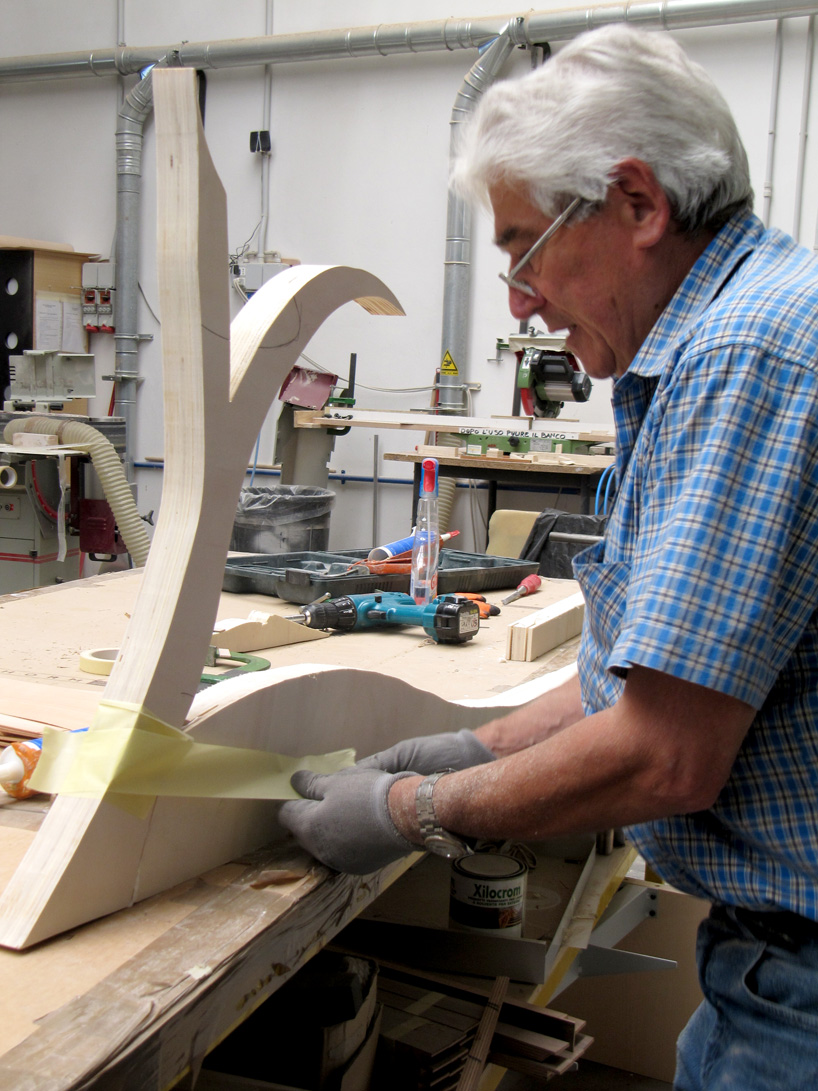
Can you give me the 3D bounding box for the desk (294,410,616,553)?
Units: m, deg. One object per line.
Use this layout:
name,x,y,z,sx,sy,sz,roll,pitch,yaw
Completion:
desk,0.392,-0.334,4.662,1.757,0.534,0.919,0,7,25

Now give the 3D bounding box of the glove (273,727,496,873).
glove,-0.057,0.227,1.075,0.218,0.112,0.275,8,7,39

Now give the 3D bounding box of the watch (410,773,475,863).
watch,0.021,0.239,0.883,0.021,0.059,0.065,-21,-16,-14

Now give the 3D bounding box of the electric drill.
electric drill,-0.023,0.103,1.841,0.232,0.096,0.376,3,5,40

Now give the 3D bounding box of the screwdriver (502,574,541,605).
screwdriver,0.263,0.104,2.260,0.036,0.034,0.158,25,34,28

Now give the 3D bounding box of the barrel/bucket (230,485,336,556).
barrel/bucket,-0.450,-0.088,3.579,0.321,0.289,0.303,1,1,0

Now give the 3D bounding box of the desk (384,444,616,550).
desk,0.526,-0.335,4.775,0.733,0.595,0.699,4,8,24
